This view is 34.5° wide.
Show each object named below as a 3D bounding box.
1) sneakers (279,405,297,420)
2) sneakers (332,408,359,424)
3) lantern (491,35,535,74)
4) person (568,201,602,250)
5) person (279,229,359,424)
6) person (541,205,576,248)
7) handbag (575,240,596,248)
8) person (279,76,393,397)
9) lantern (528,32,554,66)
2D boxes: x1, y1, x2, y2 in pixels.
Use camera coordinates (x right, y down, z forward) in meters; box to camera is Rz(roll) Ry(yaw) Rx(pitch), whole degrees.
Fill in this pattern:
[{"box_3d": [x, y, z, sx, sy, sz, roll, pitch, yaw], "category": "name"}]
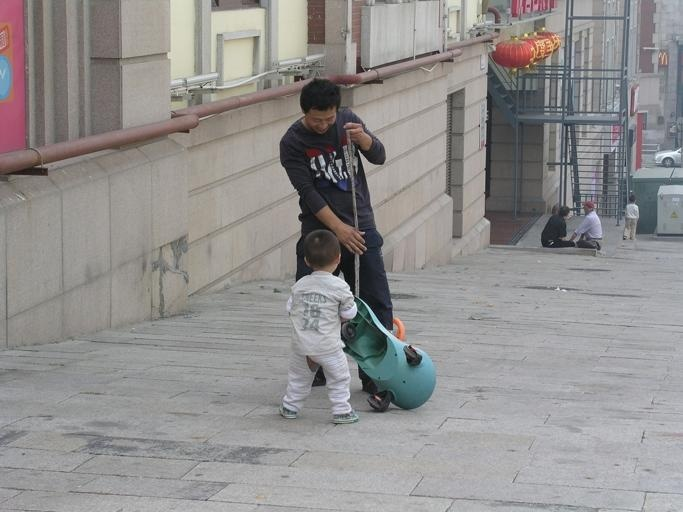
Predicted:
[{"box_3d": [-0.343, 1.015, 7.120, 0.055, 0.049, 0.143, 1, 5, -10], "category": "sneakers"}, {"box_3d": [0.039, 1.030, 7.117, 0.187, 0.067, 0.065, -6, 8, -36], "category": "sneakers"}, {"box_3d": [4.258, -4.964, 26.963, 1.023, 0.568, 0.888, -10, 18, -27], "category": "lantern"}, {"box_3d": [5.710, -0.726, 25.378, 0.861, 0.996, 0.802, 2, 13, 25], "category": "person"}, {"box_3d": [-0.117, 0.444, 7.169, 0.513, 1.230, 0.350, 2, 6, 0], "category": "person"}, {"box_3d": [4.936, -0.669, 24.853, 0.723, 0.919, 0.796, 5, 6, 23], "category": "person"}, {"box_3d": [5.587, -0.273, 24.836, 0.303, 0.181, 0.762, 0, 5, -15], "category": "handbag"}, {"box_3d": [-0.054, -0.203, 7.845, 0.876, 2.030, 0.682, 1, 20, 2], "category": "person"}, {"box_3d": [5.101, -5.277, 27.698, 0.763, 0.463, 0.862, 1, -7, 12], "category": "lantern"}]
